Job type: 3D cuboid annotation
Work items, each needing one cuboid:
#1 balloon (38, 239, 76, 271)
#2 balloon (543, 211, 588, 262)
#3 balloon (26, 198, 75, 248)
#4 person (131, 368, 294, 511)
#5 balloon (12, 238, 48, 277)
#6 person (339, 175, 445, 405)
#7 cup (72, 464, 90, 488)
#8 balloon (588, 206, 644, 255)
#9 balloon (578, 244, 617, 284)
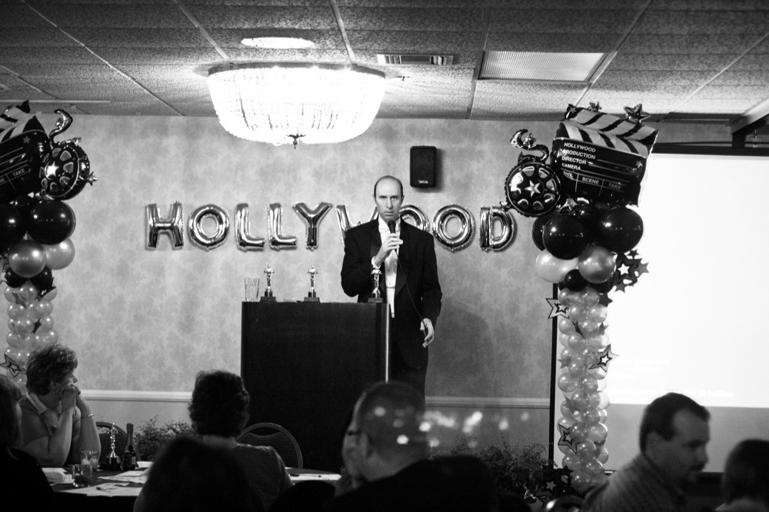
[{"bbox_3d":[-3.016,0.004,6.296,0.252,0.300,0.254,1,2,10],"label":"balloon"},{"bbox_3d":[1.584,-0.176,5.944,0.391,0.456,0.387,1,-6,1],"label":"balloon"},{"bbox_3d":[-2.992,-0.309,6.129,0.381,0.426,0.266,7,-9,-26],"label":"balloon"},{"bbox_3d":[-0.790,0.998,3.749,0.588,0.715,0.560,4,-8,-7],"label":"person"},{"bbox_3d":[-3.172,0.030,6.086,0.267,0.325,0.240,1,-8,12],"label":"balloon"},{"bbox_3d":[0.114,0.246,6.314,0.960,1.968,0.924,5,-8,-14],"label":"person"},{"bbox_3d":[-1.904,1.367,4.293,0.111,0.125,0.115,0,-7,0],"label":"cup"},{"bbox_3d":[1.980,-0.193,5.951,0.379,0.450,0.381,6,-16,2],"label":"balloon"},{"bbox_3d":[1.828,0.059,5.831,0.306,0.351,0.307,0,10,-1],"label":"balloon"}]
